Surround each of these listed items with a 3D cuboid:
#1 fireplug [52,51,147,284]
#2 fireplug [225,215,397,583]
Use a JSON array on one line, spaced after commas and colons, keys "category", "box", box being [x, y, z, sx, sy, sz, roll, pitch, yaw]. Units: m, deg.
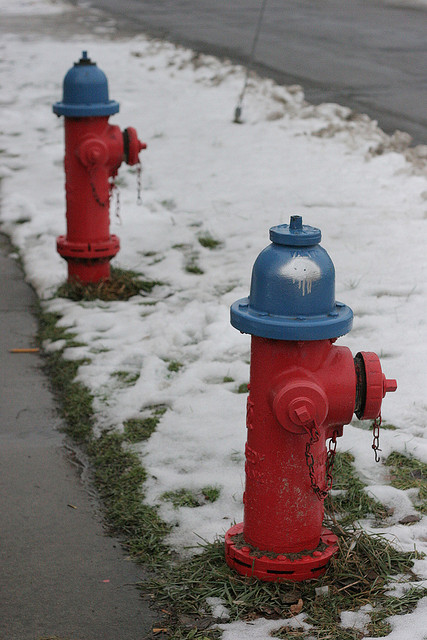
[{"category": "fireplug", "box": [-0.910, -1.143, 9.034, 0.642, 1.824, 0.407, -2, 21, -15]}, {"category": "fireplug", "box": [0.444, 0.410, 5.800, 0.762, 1.790, 0.551, 3, 20, 0]}]
